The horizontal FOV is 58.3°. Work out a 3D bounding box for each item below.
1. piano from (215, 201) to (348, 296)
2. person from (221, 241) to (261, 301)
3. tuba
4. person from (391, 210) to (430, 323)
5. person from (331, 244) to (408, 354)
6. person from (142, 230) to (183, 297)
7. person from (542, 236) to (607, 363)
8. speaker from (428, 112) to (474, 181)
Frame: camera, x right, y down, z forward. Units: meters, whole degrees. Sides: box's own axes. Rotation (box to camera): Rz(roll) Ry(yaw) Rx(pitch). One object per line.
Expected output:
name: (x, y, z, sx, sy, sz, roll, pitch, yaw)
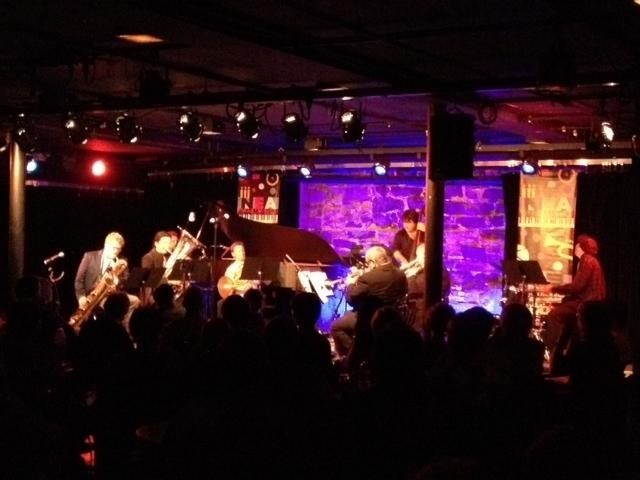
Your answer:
piano: (-0.493, 0.111, 9.601, 2.124, 1.504, 1.200, -4, 5, -35)
person: (-1.352, 0.616, 9.282, 0.794, 1.086, 0.387, -2, -8, -4)
tuba: (-2.238, 0.267, 9.107, 0.562, 1.427, 0.622, 1, 0, 40)
person: (1.458, 0.370, 9.196, 0.406, 2.006, 0.490, 5, -24, -6)
person: (0.603, 0.804, 7.804, 0.892, 1.660, 0.803, 5, 6, 41)
person: (-2.682, 0.318, 9.375, 0.710, 1.326, 0.616, -5, 8, -43)
person: (3.903, 0.881, 8.803, 0.966, 1.839, 0.701, -6, -17, 43)
speaker: (1.502, -1.067, 6.683, 0.381, 0.814, 0.425, -4, 7, -39)
